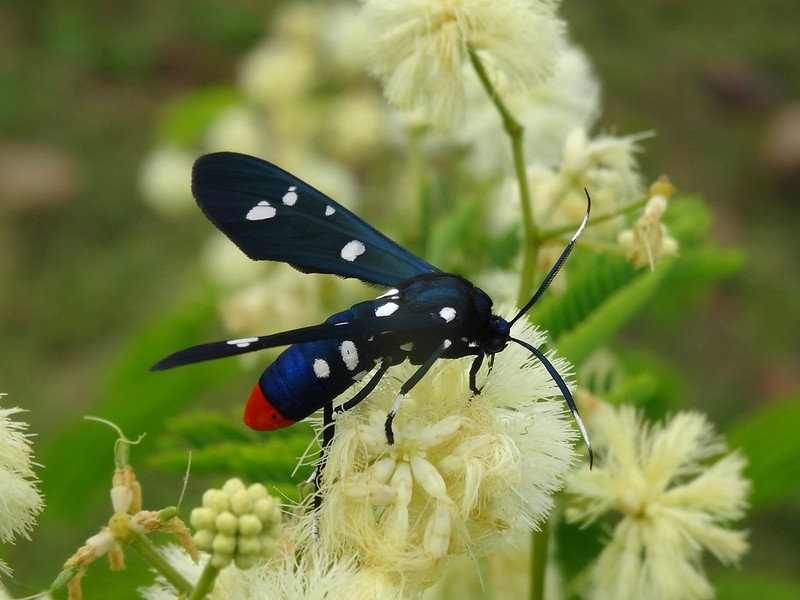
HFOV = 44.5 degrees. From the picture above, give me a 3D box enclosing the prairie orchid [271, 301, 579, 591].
[{"bbox_3d":[0.074,0.292,1.653,0.431,0.211,0.427,-29,51,10],"label":"prairie orchid"}]
